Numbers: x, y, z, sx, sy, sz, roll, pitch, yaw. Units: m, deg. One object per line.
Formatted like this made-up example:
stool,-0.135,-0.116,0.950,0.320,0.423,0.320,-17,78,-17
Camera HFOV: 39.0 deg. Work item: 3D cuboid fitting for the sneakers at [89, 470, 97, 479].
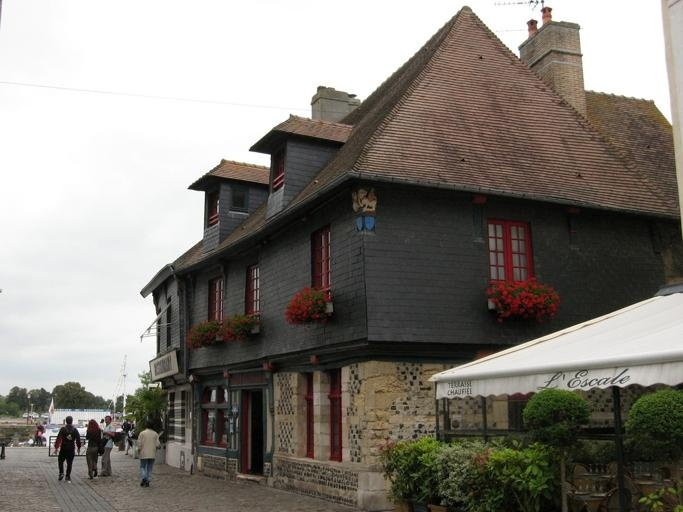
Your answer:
sneakers,-7.419,6.571,28.827,0.157,0.193,0.458,-2,-28,-18

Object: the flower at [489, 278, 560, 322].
flower,4.303,1.076,22.867,1.208,0.809,1.203,-1,0,8

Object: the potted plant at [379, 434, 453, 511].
potted plant,1.578,4.567,20.113,0.634,1.467,2.115,4,-16,-21

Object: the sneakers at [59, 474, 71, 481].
sneakers,-7.940,6.398,27.642,0.196,0.218,0.520,0,-8,-25

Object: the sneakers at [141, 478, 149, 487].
sneakers,-5.364,6.249,26.387,0.112,0.127,0.301,5,-52,-16

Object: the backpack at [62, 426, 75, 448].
backpack,-7.785,5.179,27.529,0.299,0.582,0.428,-1,-15,-3

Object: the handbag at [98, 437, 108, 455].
handbag,-7.281,5.838,29.438,0.355,0.477,0.441,-1,9,-4
